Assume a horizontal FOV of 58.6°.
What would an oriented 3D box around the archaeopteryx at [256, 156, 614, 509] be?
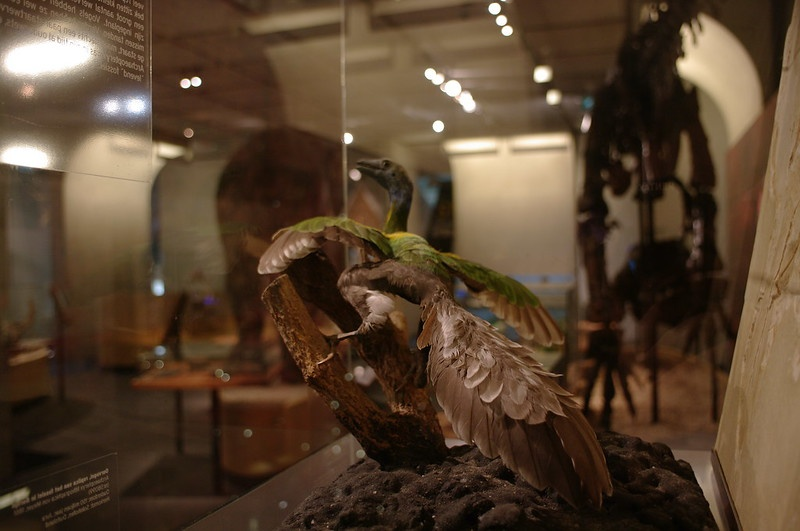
[{"bbox_3d":[0.172,0.174,2.658,1.171,0.742,1.592,15,12,-42],"label":"archaeopteryx"}]
